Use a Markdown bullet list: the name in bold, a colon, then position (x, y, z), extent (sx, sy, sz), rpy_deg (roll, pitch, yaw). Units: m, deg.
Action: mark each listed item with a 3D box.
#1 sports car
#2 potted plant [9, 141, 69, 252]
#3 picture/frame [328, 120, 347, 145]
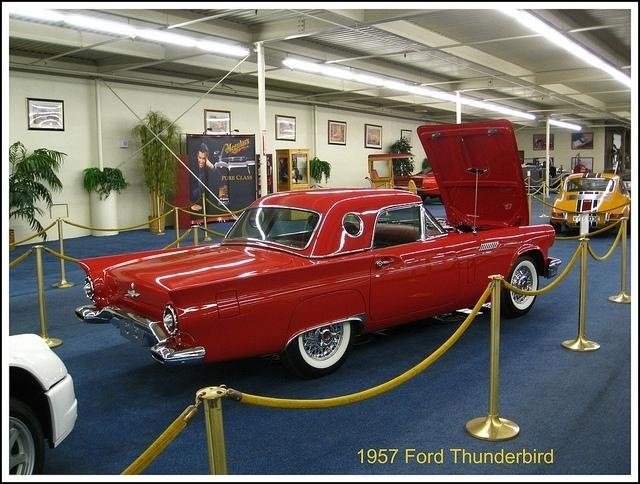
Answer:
- **sports car**: position (0.588, -0.169, 4.833), extent (5.387, 2.039, 1.889), rpy_deg (-9, 15, -28)
- **potted plant**: position (-7.976, -1.453, 11.237), extent (1.455, 2.795, 2.562), rpy_deg (-7, 12, -32)
- **picture/frame**: position (0.819, -5.815, 20.916), extent (0.159, 1.308, 1.712), rpy_deg (1, 1, 42)
